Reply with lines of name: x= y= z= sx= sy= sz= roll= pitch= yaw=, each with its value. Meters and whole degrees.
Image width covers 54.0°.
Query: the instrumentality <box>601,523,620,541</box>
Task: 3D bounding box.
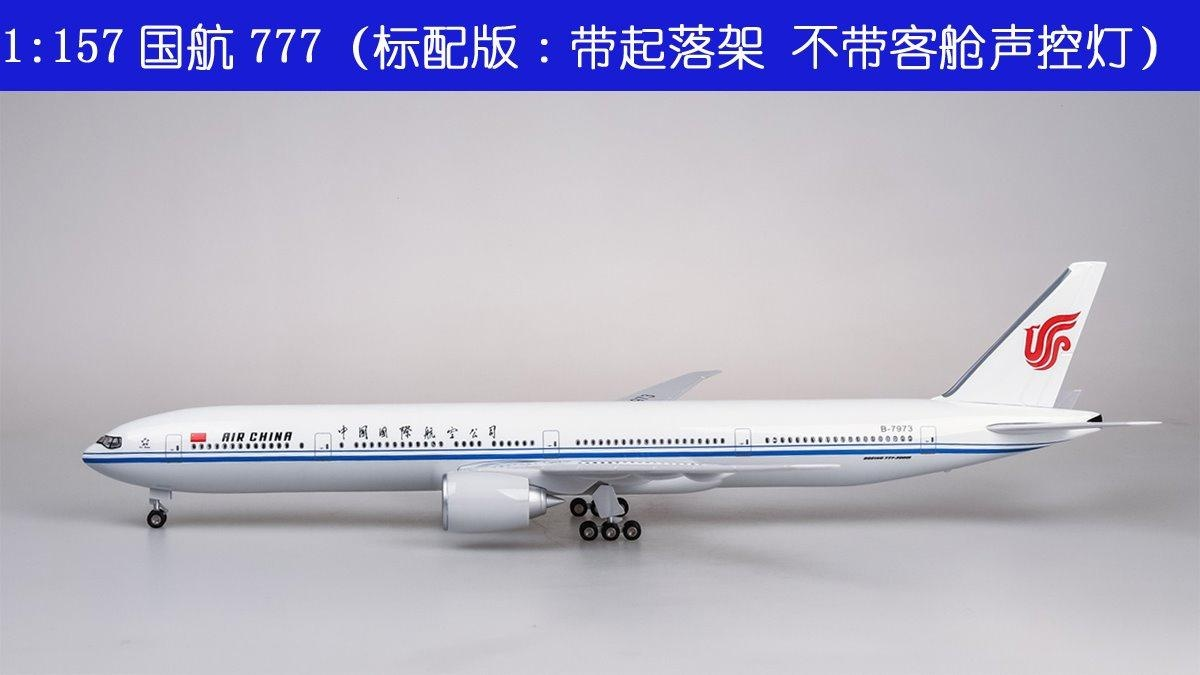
instrumentality: x=0.186 y=3.533 z=21.383 sx=0.382 sy=0.323 sz=0.368 roll=-5 pitch=-50 yaw=-5
